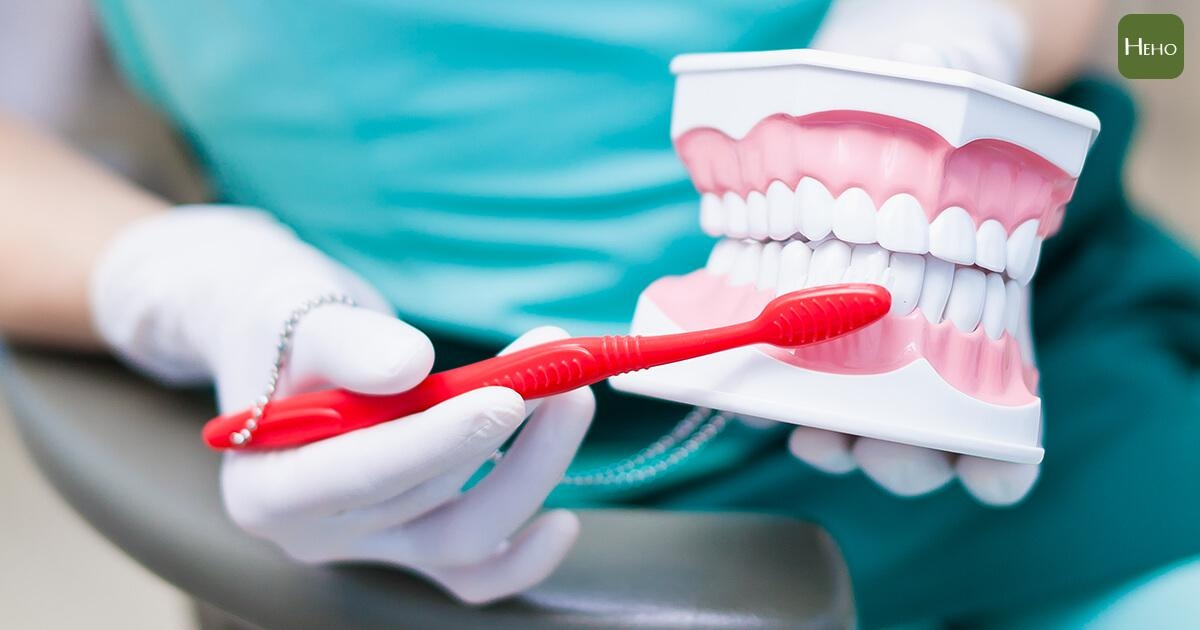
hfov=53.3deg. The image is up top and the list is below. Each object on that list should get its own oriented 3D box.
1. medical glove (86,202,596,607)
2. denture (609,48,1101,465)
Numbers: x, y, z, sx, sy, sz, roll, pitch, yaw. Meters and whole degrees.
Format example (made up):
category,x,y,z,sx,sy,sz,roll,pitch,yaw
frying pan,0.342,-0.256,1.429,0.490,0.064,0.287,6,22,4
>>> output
category,x,y,z,sx,sy,sz,roll,pitch,yaw
medical glove,-0.341,0.108,1.484,0.679,0.295,0.349,21,58,20
denture,0.294,-0.078,1.383,0.497,0.319,0.378,8,54,11
